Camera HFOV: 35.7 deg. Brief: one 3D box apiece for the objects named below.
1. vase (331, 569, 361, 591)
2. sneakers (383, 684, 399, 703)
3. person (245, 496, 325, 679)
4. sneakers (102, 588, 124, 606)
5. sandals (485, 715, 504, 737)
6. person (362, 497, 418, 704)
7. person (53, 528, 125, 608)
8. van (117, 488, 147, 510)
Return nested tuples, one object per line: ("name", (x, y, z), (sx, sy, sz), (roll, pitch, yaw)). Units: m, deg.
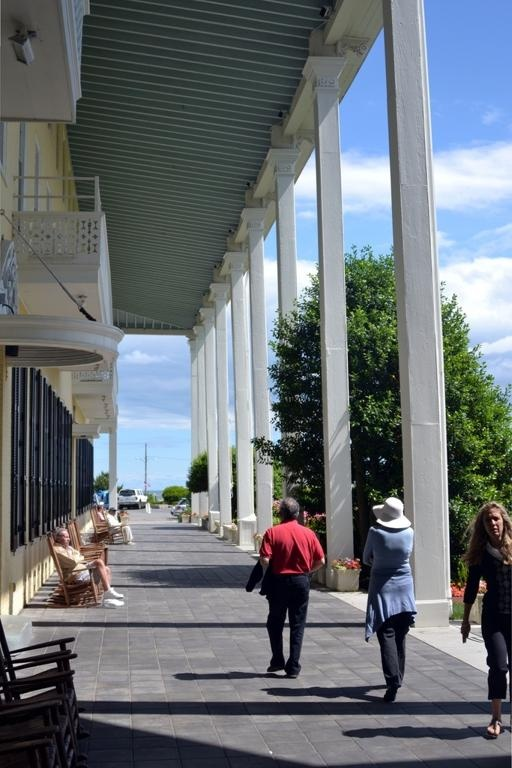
("vase", (1.281, 2.877, 11.648), (0.425, 0.338, 0.290), (-4, -6, 21))
("sneakers", (0.874, 2.023, 5.177), (0.060, 0.084, 0.185), (0, -42, 2))
("person", (0.230, 1.574, 6.184), (0.590, 1.334, 0.505), (-2, -5, 2))
("sneakers", (-1.866, 2.815, 10.453), (0.228, 0.210, 0.350), (0, -6, -23))
("sandals", (1.321, 1.887, 4.391), (0.060, 0.065, 0.174), (-4, -2, 11))
("person", (0.886, 1.459, 5.399), (0.357, 1.327, 0.518), (-4, -6, 21))
("person", (-2.292, 2.480, 10.815), (1.056, 1.003, 0.547), (-4, -5, 16))
("van", (-9.736, 8.974, 62.712), (2.130, 1.745, 4.219), (-1, -11, 2))
